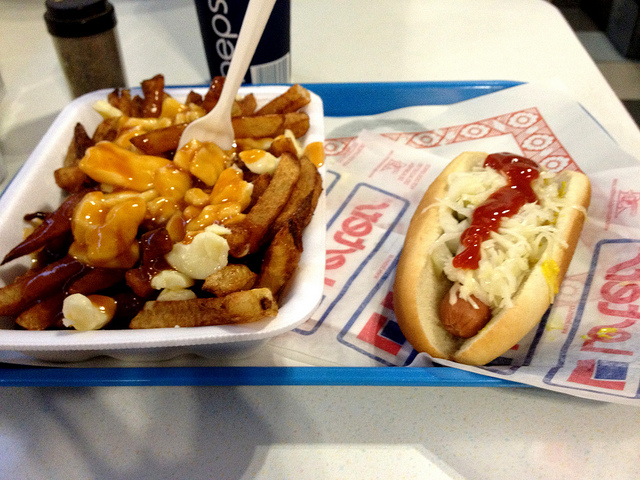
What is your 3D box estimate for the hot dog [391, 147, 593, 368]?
[{"bbox_3d":[0.616,0.052,1.950,0.601,0.280,0.883,19,51,21],"label":"hot dog"}]
